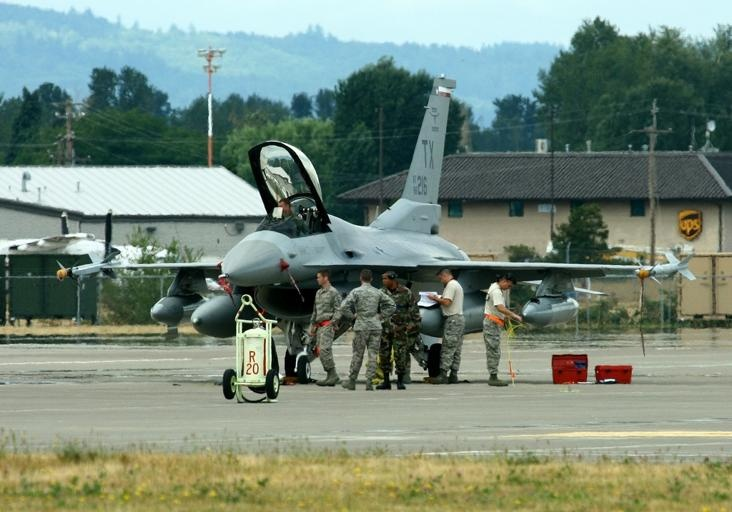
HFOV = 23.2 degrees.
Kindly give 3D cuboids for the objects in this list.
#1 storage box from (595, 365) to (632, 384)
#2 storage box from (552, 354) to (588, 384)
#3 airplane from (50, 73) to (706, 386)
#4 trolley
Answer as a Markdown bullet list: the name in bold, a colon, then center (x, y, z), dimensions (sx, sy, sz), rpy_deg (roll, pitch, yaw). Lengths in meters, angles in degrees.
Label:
- **storage box**: center (11.710, 5.639, 82.241), dimensions (1.612, 0.771, 0.454), rpy_deg (0, -2, 20)
- **storage box**: center (9.702, 5.424, 83.093), dimensions (2.061, 1.687, 1.205), rpy_deg (0, -7, -3)
- **airplane**: center (1.936, -0.085, 88.317), dimensions (21.760, 8.616, 18.748), rpy_deg (0, 0, 26)
- **trolley**: center (-4.789, 4.296, 79.583), dimensions (2.624, 4.398, 2.289), rpy_deg (0, -2, 26)
